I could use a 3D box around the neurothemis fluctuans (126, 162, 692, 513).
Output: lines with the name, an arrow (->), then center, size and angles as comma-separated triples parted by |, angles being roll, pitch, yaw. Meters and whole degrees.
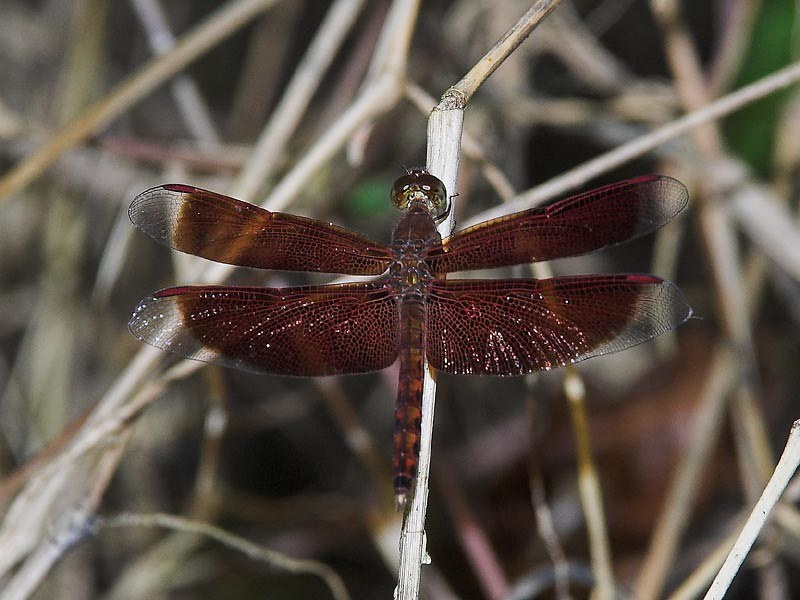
neurothemis fluctuans -> 0.025, -0.002, 1.390 | 0.770, 0.169, 0.526 | -2, 72, 5
